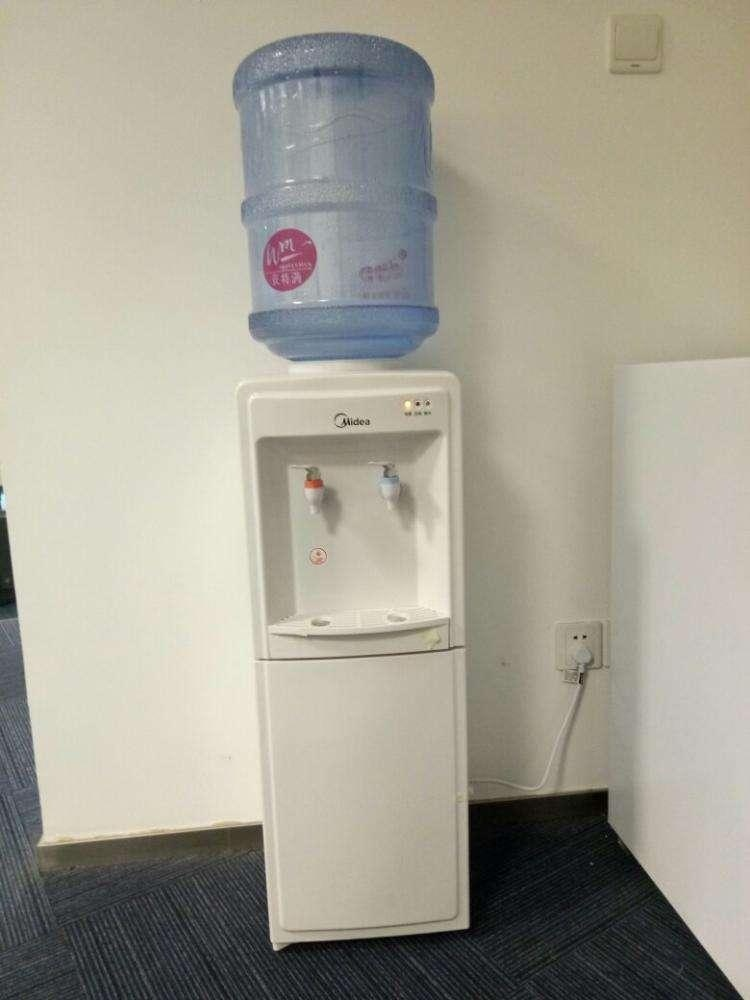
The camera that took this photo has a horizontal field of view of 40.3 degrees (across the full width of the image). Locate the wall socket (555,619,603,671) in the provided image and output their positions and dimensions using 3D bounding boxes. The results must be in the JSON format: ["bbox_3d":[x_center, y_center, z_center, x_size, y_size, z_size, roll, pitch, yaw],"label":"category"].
[{"bbox_3d":[0.468,0.328,2.369,0.135,0.127,0.019,0,1,-7],"label":"wall socket"}]
